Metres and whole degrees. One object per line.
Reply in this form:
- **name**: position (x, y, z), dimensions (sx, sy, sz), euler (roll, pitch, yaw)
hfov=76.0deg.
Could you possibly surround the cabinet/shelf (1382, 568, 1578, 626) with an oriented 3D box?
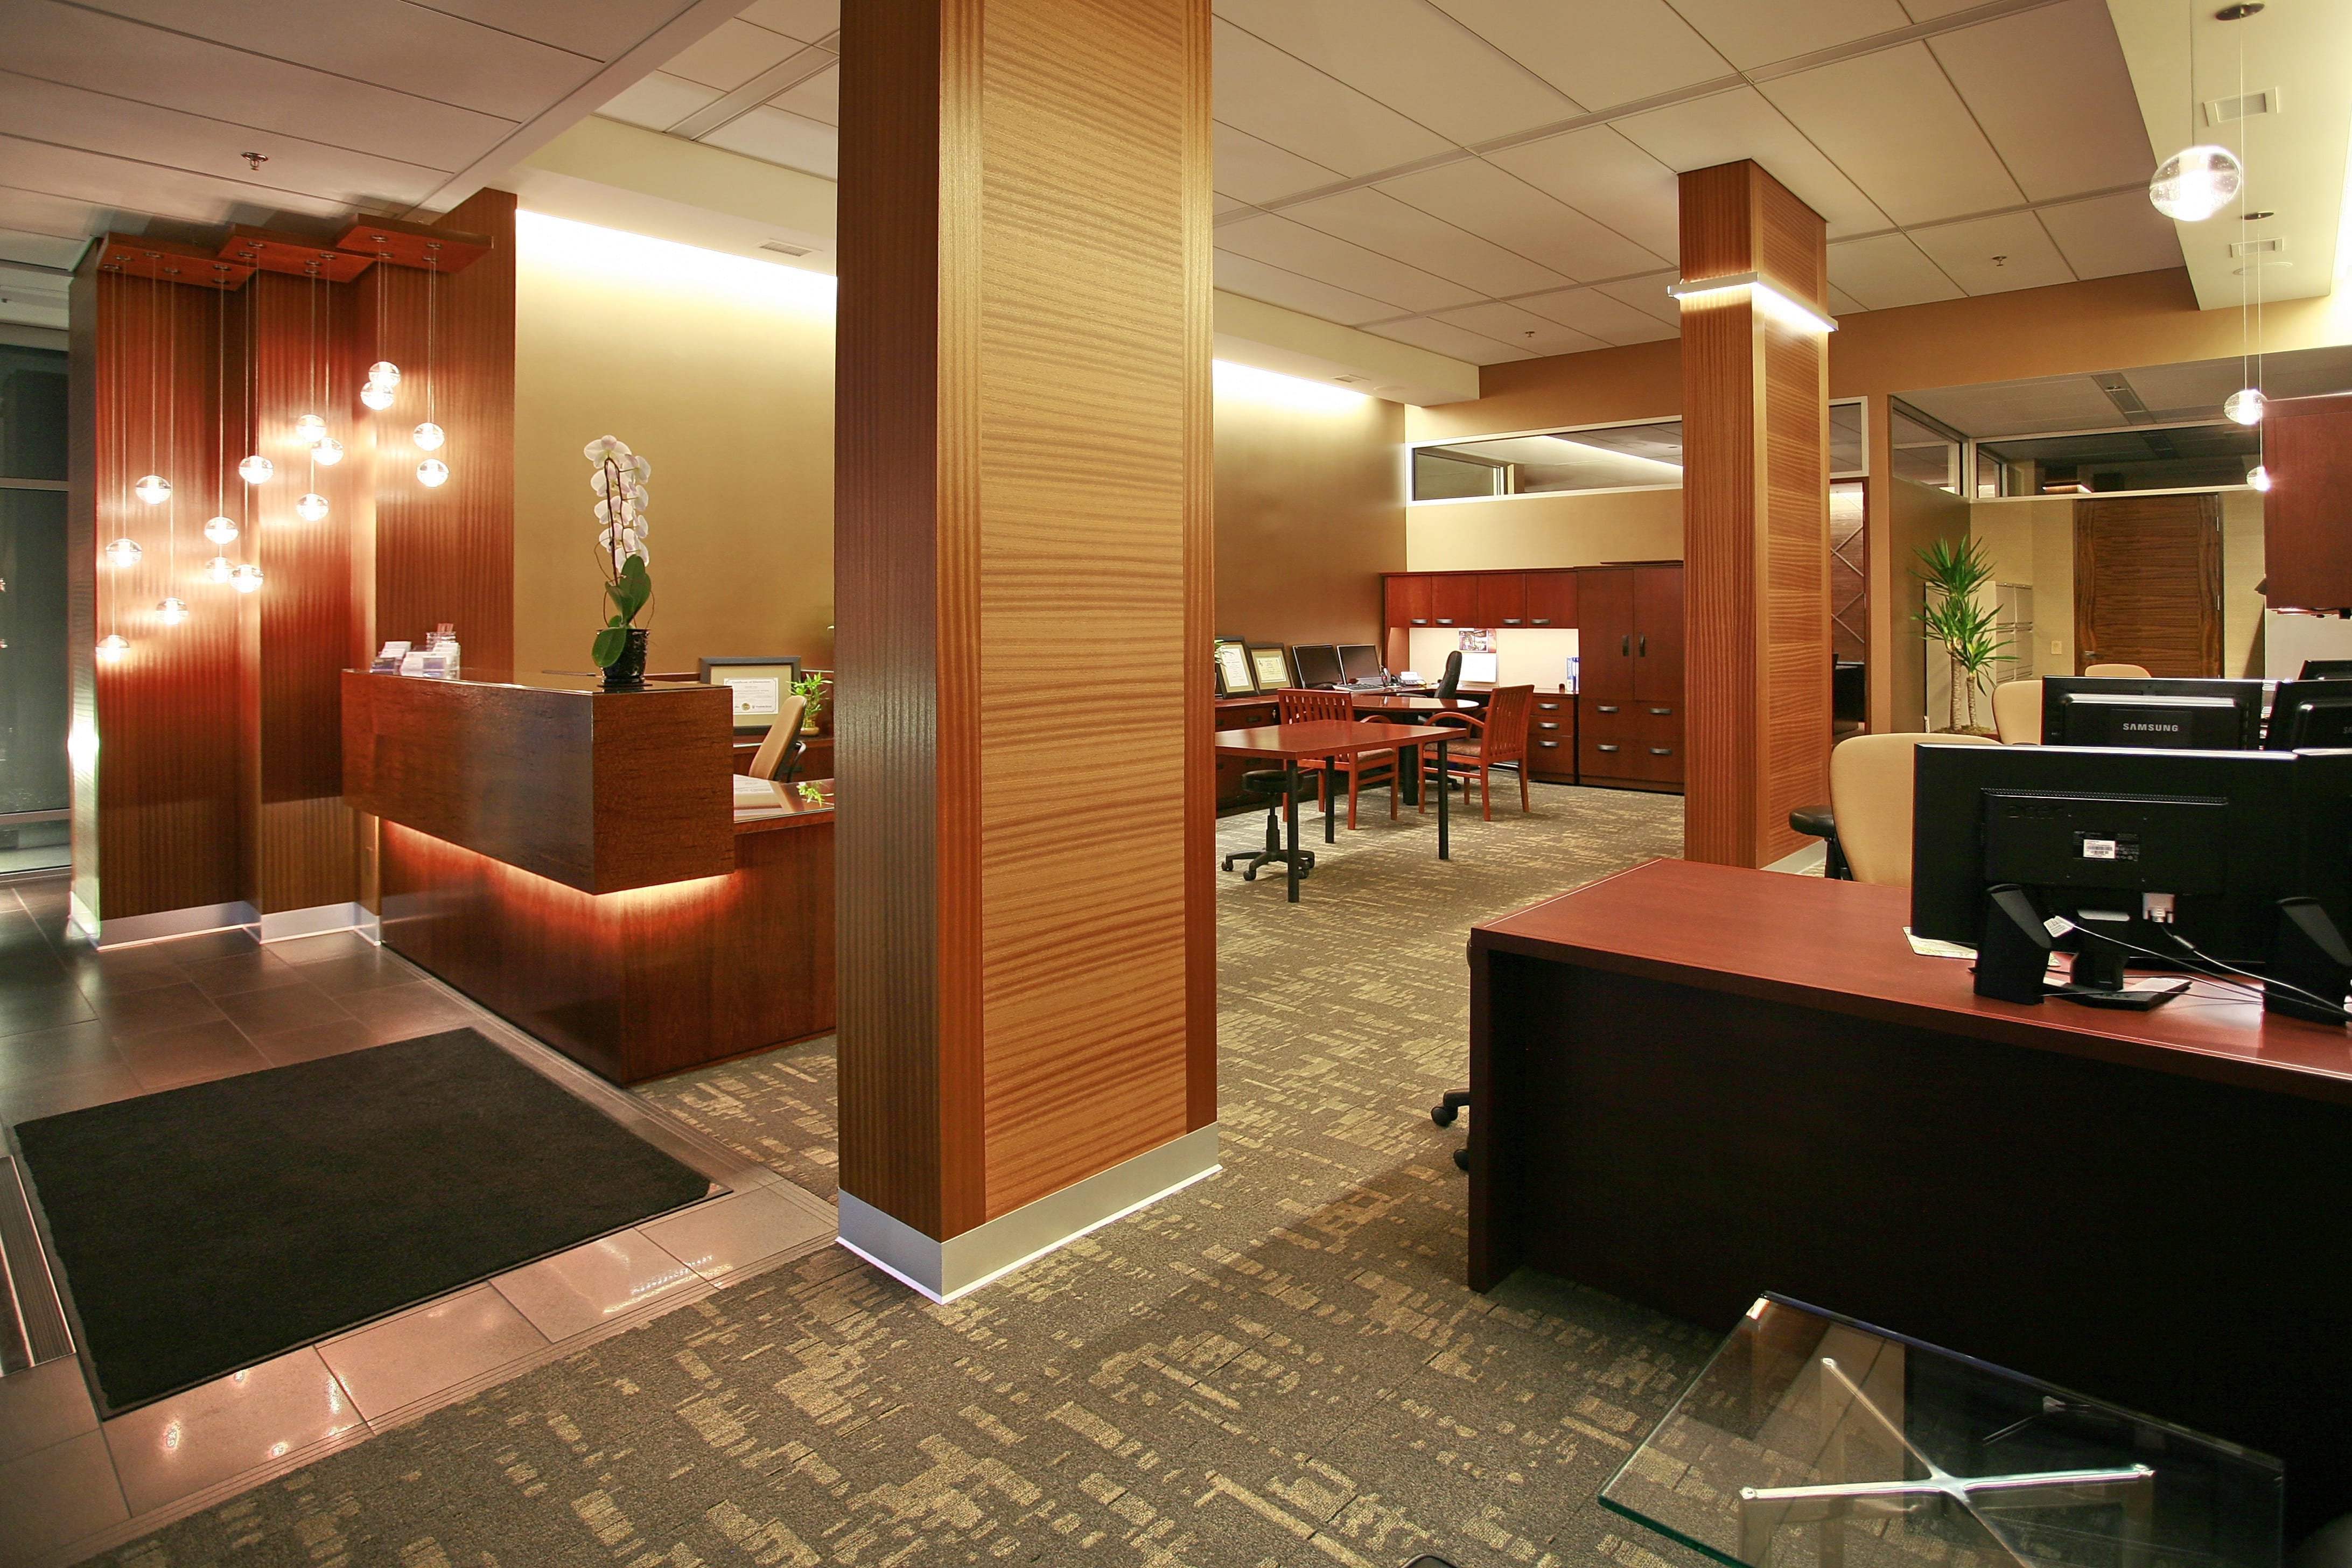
- **cabinet/shelf**: position (2.746, -1.680, 13.726), dimensions (1.886, 0.511, 0.231), euler (6, 10, 40)

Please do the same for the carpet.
- **carpet**: position (-3.058, 1.498, 5.609), dimensions (1.840, 0.467, 2.140), euler (-7, 10, -41)

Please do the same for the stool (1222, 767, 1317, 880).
- **stool**: position (0.650, 0.236, 9.598), dimensions (0.638, 0.671, 0.682), euler (-1, 1, -27)

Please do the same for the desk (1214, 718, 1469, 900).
- **desk**: position (1.025, 0.413, 9.871), dimensions (1.133, 0.970, 2.062), euler (3, 6, 34)

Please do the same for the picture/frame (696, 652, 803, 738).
- **picture/frame**: position (-2.341, -0.477, 8.205), dimensions (0.082, 0.422, 0.615), euler (-11, -7, 42)

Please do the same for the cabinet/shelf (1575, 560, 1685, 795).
- **cabinet/shelf**: position (3.798, -0.884, 12.940), dimensions (1.087, 1.823, 0.653), euler (3, -5, -13)

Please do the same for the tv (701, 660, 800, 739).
- **tv**: position (-2.326, -0.455, 8.160), dimensions (0.074, 0.391, 0.567), euler (-10, -6, 43)

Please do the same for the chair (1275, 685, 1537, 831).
- **chair**: position (2.057, -0.263, 11.868), dimensions (1.621, 0.771, 1.199), euler (3, 5, 41)

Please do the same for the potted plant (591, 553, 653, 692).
- **potted plant**: position (-2.323, -0.681, 6.287), dimensions (0.215, 0.544, 0.559), euler (-3, 8, -21)
